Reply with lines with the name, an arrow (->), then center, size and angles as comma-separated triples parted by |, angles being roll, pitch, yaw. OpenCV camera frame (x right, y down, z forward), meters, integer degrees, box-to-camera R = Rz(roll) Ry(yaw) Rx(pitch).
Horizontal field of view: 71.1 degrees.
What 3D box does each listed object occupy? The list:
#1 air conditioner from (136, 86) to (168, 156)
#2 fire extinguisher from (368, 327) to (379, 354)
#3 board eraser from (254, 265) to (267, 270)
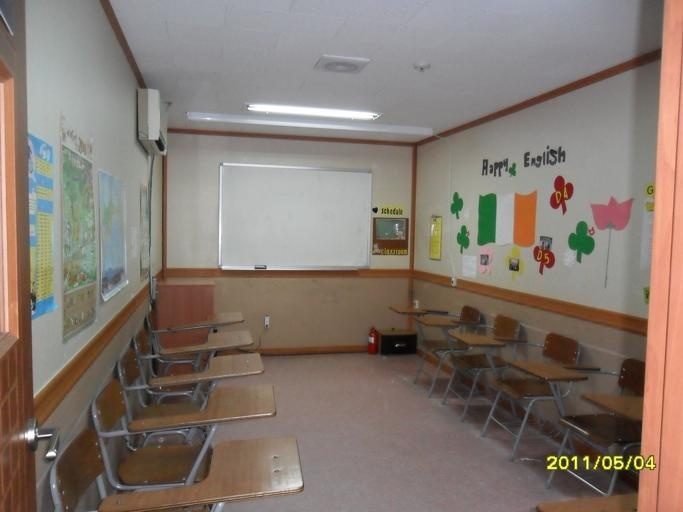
air conditioner -> -1.708, -1.223, 4.293 | 0.117, 0.335, 0.635 | -1, 8, -11
fire extinguisher -> 0.453, 1.191, 6.760 | 0.141, 0.341, 0.211 | 0, 6, -2
board eraser -> -1.079, 0.152, 6.398 | 0.168, 0.065, 0.014 | -1, 6, -15
